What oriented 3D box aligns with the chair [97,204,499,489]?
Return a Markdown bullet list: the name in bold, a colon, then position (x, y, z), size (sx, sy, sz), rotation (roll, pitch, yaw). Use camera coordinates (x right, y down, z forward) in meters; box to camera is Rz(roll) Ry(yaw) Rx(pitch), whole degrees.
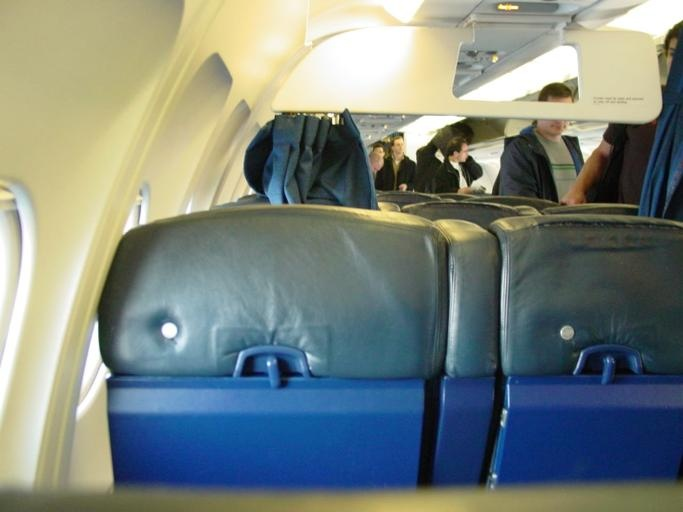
- **chair**: position (-0.082, 0.218, 2.078), size (0.995, 1.017, 0.802), rotation (0, 15, 0)
